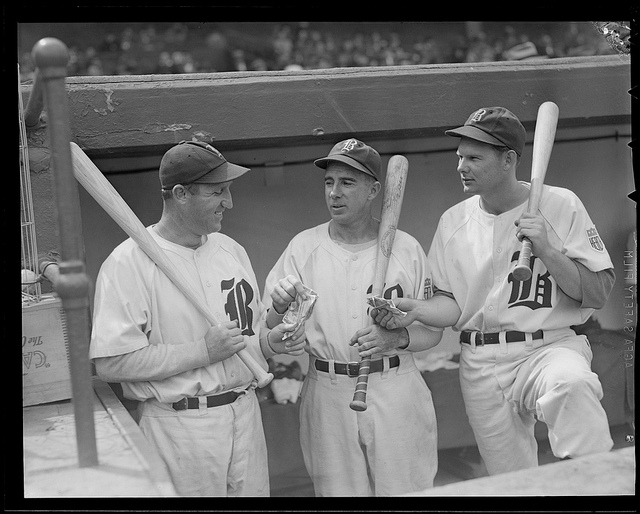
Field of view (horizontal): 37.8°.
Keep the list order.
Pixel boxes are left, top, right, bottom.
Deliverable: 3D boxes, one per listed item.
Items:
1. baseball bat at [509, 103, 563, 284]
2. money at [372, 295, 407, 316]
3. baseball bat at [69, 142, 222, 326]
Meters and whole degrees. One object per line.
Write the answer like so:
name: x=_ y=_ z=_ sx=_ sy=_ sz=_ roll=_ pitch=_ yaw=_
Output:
baseball bat: x=1.200 y=-0.359 z=5.257 sx=0.155 sy=1.203 sz=0.169 roll=15 pitch=-25 yaw=7
money: x=0.355 y=0.253 z=4.872 sx=0.159 sy=0.068 sz=0.095 roll=6 pitch=27 yaw=-42
baseball bat: x=-0.892 y=-0.121 z=4.849 sx=0.140 sy=1.276 sz=0.143 roll=-41 pitch=-3 yaw=20
